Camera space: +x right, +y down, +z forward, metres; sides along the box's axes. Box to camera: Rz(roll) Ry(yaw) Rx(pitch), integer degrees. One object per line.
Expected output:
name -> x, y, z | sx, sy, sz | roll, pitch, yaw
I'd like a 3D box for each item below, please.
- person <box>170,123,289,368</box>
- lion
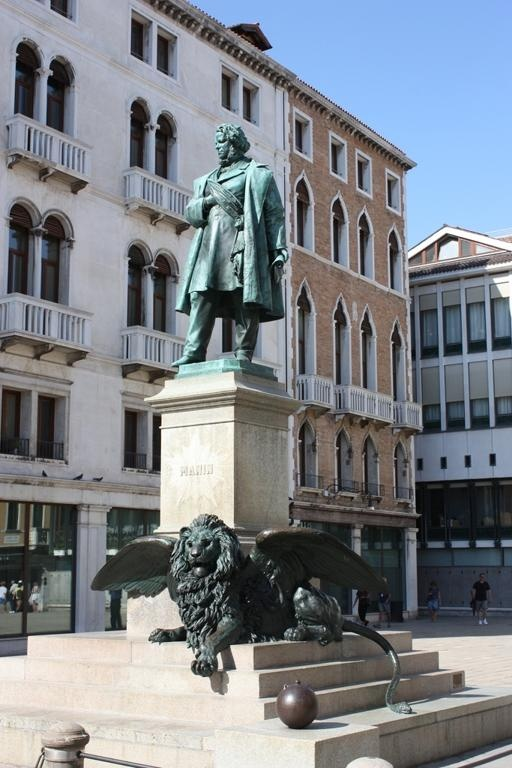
person -> -0.203, -1.358, 10.024 | 1.027, 2.429, 0.618 | -5, -10, 30
lion -> 0.139, 1.532, 7.992 | 1.684, 1.114, 0.760 | 5, -10, -31
